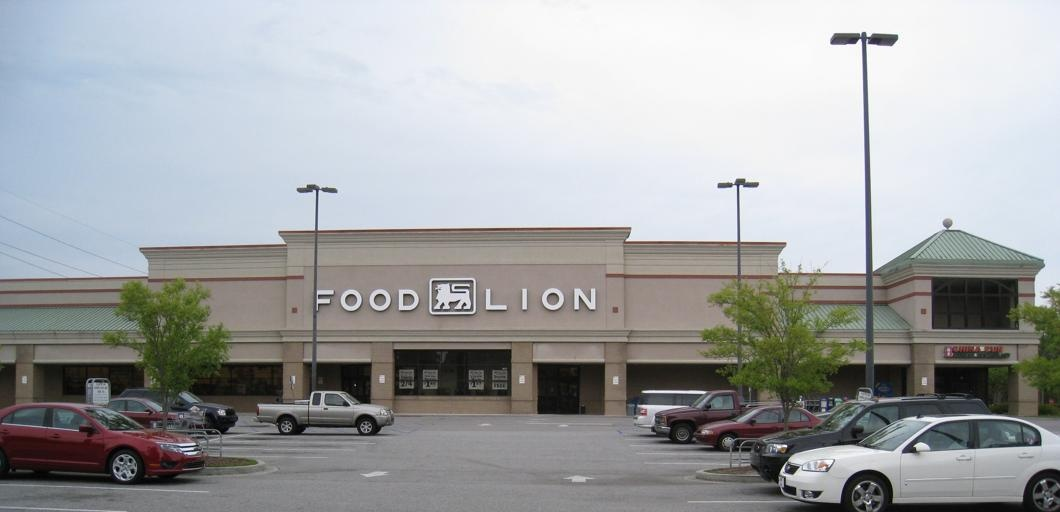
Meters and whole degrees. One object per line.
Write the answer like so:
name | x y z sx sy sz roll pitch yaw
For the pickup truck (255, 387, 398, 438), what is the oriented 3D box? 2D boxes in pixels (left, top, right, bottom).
pickup truck | -14.984 11.386 91.721 9.272 2.679 3.686 -1 -3 0
